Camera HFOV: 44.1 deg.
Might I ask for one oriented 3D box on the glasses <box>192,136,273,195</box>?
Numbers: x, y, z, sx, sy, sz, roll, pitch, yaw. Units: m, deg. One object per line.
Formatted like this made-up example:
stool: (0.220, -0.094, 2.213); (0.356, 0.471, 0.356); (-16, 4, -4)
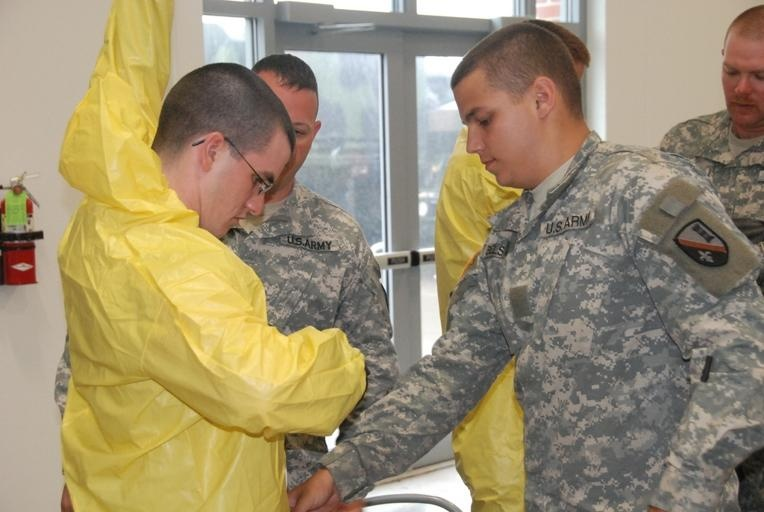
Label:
glasses: (-0.445, -0.263, 2.815); (0.058, 0.194, 0.146); (-37, 4, -1)

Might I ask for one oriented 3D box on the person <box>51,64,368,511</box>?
person: (-0.429, 0.085, 2.679); (0.728, 1.338, 0.370); (0, -2, -17)
